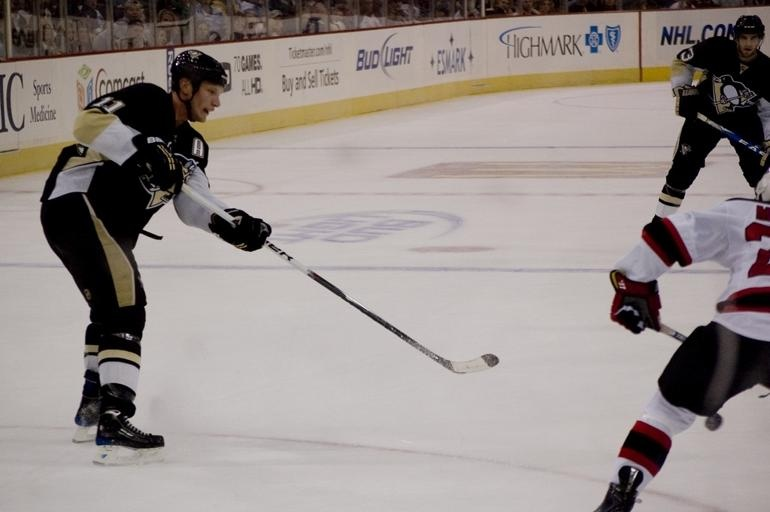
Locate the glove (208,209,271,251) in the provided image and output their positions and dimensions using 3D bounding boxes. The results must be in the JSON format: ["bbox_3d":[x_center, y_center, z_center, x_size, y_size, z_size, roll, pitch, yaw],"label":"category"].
[{"bbox_3d":[-0.619,-0.105,3.737,0.258,0.151,0.102,30,-15,-27],"label":"glove"}]

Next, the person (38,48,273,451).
[{"bbox_3d":[-0.949,-0.032,3.530,0.787,1.571,0.658,-11,18,-36],"label":"person"}]

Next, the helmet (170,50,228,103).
[{"bbox_3d":[-0.792,-0.767,3.602,0.224,0.192,0.171,5,13,-3],"label":"helmet"}]

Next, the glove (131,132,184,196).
[{"bbox_3d":[-0.894,-0.365,3.398,0.169,0.221,0.065,-33,27,20],"label":"glove"}]

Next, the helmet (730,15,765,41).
[{"bbox_3d":[2.415,-1.546,5.753,0.193,0.191,0.209,1,-8,12],"label":"helmet"}]
